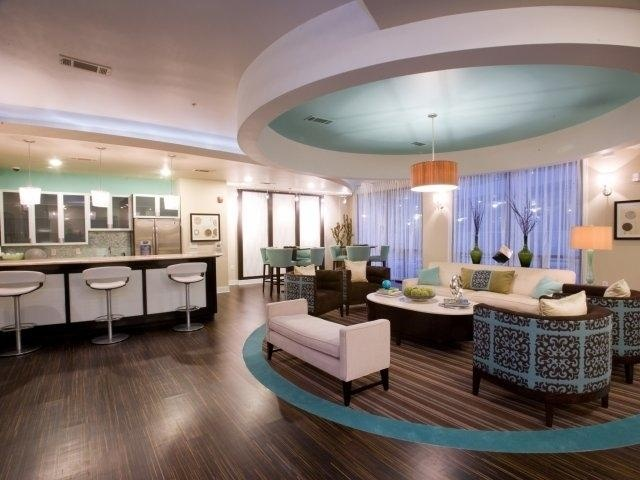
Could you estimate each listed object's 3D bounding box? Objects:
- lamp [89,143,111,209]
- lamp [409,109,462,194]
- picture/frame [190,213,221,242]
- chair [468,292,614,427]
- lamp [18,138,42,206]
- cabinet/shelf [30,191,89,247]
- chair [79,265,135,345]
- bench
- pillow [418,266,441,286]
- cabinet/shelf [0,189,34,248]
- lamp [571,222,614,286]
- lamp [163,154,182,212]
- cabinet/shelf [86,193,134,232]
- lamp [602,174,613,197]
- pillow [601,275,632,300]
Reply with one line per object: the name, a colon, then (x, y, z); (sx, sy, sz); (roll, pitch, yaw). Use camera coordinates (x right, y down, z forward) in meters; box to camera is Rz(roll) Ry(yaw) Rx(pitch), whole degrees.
lamp: (-4.020, -1.158, 7.684); (0.317, 1.658, 0.582); (-4, 10, -37)
lamp: (1.650, -1.321, 6.168); (0.597, 0.986, 0.607); (-1, 5, 29)
picture/frame: (-2.597, -0.275, 9.475); (0.588, 0.579, 0.058); (-7, 9, -37)
chair: (2.428, 1.247, 4.601); (1.182, 1.029, 1.110); (-1, 3, -22)
lamp: (-5.003, -1.060, 7.214); (0.279, 1.211, 2.525); (-9, 15, -35)
cabinet/shelf: (-5.110, -0.377, 8.357); (0.863, 1.025, 0.349); (-1, -6, -29)
chair: (-3.070, 0.925, 6.186); (0.586, 1.126, 0.597); (-8, 15, -30)
bench: (0.032, 1.278, 5.235); (0.767, 0.811, 1.716); (0, 3, -38)
pillow: (1.990, 0.670, 7.653); (0.308, 0.304, 0.112); (-9, -44, 36)
cabinet/shelf: (-5.667, -0.397, 7.846); (0.465, 0.986, 0.212); (-10, 16, -37)
lamp: (3.912, 0.213, 6.134); (0.629, 0.923, 0.647); (4, 3, 6)
lamp: (-2.982, -1.029, 8.441); (0.317, 1.273, 2.339); (-5, 13, -19)
cabinet/shelf: (-4.338, -0.502, 8.759); (0.776, 0.767, 0.288); (-1, -15, -24)
lamp: (4.653, -0.874, 6.850); (0.071, 0.390, 0.197); (-6, 14, -23)
pillow: (3.558, 0.483, 5.030); (0.383, 0.293, 0.213); (-3, 9, -33)
